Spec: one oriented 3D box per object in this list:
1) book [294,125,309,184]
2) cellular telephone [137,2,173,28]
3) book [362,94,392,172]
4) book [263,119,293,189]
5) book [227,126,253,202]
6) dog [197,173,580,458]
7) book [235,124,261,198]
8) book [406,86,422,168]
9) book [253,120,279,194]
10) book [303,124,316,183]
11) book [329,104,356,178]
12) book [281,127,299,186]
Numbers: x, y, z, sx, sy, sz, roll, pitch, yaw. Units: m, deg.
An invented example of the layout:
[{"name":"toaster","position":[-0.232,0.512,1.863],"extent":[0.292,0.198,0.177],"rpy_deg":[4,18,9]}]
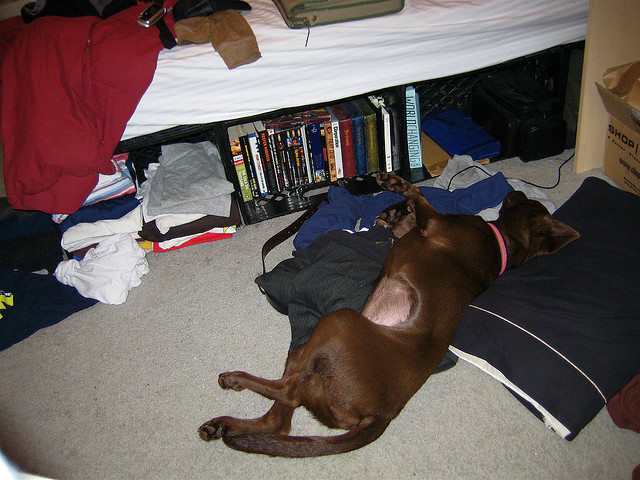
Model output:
[{"name":"book","position":[-0.112,-0.499,2.903],"extent":[0.055,0.367,0.042],"rpy_deg":[6,22,39]},{"name":"cellular telephone","position":[-0.831,-1.108,2.429],"extent":[0.107,0.038,0.143],"rpy_deg":[33,65,13]},{"name":"book","position":[0.381,-0.626,2.921],"extent":[0.083,0.336,0.328],"rpy_deg":[-15,39,-15]},{"name":"book","position":[-0.225,-0.493,2.874],"extent":[0.069,0.275,0.278],"rpy_deg":[-12,30,-3]},{"name":"book","position":[-0.464,-0.459,2.909],"extent":[0.096,0.400,0.411],"rpy_deg":[-16,28,-22]},{"name":"dog","position":[0.350,0.223,2.005],"extent":[1.698,0.504,0.841],"rpy_deg":[-46,24,-20]},{"name":"book","position":[-0.421,-0.455,2.836],"extent":[0.071,0.290,0.297],"rpy_deg":[-13,5,-7]},{"name":"book","position":[0.555,-0.666,2.867],"extent":[0.083,0.511,0.128],"rpy_deg":[-3,42,11]},{"name":"book","position":[-0.311,-0.475,2.856],"extent":[0.070,0.283,0.287],"rpy_deg":[-15,27,-11]},{"name":"book","position":[-0.060,-0.514,2.905],"extent":[0.053,0.309,0.045],"rpy_deg":[0,22,22]},{"name":"book","position":[0.156,-0.600,2.962],"extent":[0.100,0.390,0.199],"rpy_deg":[-9,41,4]},{"name":"book","position":[-0.168,-0.492,2.884],"extent":[0.052,0.337,0.039],"rpy_deg":[-21,31,-13]}]
